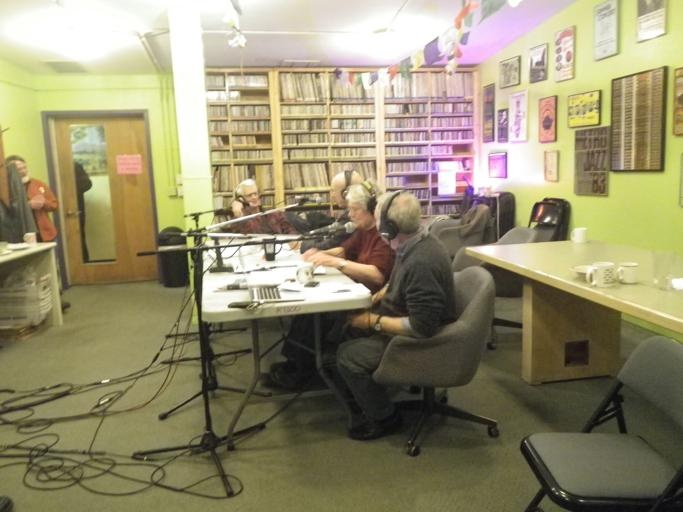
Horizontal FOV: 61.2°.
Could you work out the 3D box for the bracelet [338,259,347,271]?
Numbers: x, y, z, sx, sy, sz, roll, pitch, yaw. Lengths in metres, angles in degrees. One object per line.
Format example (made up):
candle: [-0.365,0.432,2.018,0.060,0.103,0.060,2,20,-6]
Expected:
bracelet: [0.009,0.066,4.058,0.061,0.027,0.082,3,-33,-31]

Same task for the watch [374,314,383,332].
watch: [0.228,0.413,3.591,0.053,0.083,0.086,7,31,5]

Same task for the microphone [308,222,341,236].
microphone: [-0.117,-0.183,4.047,0.127,0.055,0.225,-14,3,9]

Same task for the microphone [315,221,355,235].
microphone: [-0.046,-0.198,4.241,0.194,0.059,0.144,-6,2,-7]

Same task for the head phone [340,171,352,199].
head phone: [0.044,-0.611,4.940,0.078,0.215,0.157,5,6,13]

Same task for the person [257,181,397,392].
person: [-0.005,0.235,4.380,0.863,1.467,0.610,1,11,-11]

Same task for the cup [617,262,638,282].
cup: [1.783,0.104,3.620,0.138,0.097,0.085,-9,10,-19]

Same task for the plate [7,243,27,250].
plate: [-3.185,-0.093,5.687,0.166,0.044,0.188,-8,12,-27]

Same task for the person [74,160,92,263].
person: [-3.473,-0.608,7.873,0.229,1.331,0.090,-8,12,-24]

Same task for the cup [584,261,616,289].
cup: [1.626,0.117,3.599,0.185,0.125,0.120,-9,10,-17]

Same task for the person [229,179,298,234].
person: [-0.853,-0.484,5.816,0.495,0.247,0.699,-2,-5,-13]

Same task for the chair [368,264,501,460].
chair: [0.556,0.630,3.833,0.826,1.004,0.837,1,8,5]

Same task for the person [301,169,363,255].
person: [-0.020,-0.382,4.897,0.676,0.817,0.721,2,9,6]

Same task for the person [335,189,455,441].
person: [0.354,0.428,3.884,0.861,1.537,0.818,3,5,29]

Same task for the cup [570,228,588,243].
cup: [2.003,-0.168,4.848,0.168,0.146,0.107,-3,5,1]
